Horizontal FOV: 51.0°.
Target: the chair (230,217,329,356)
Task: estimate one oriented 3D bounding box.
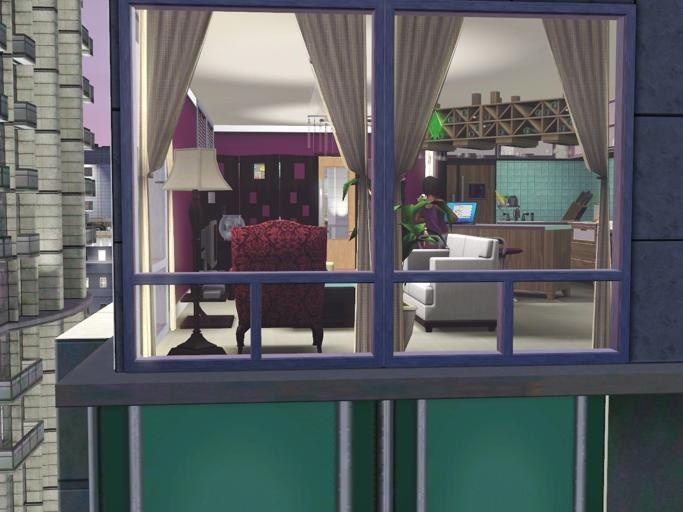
[{"bbox_3d":[-0.515,0.257,6.159,0.951,1.408,0.985,0,-2,-8],"label":"chair"}]

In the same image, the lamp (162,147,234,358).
[{"bbox_3d":[-1.122,0.041,5.622,0.516,1.745,1.870,-2,10,-11],"label":"lamp"}]

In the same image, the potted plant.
[{"bbox_3d":[0.573,-0.010,5.808,1.033,1.443,1.056,4,0,-6],"label":"potted plant"}]

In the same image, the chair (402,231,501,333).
[{"bbox_3d":[1.061,0.244,7.395,0.660,0.906,1.289,1,4,-7],"label":"chair"}]
